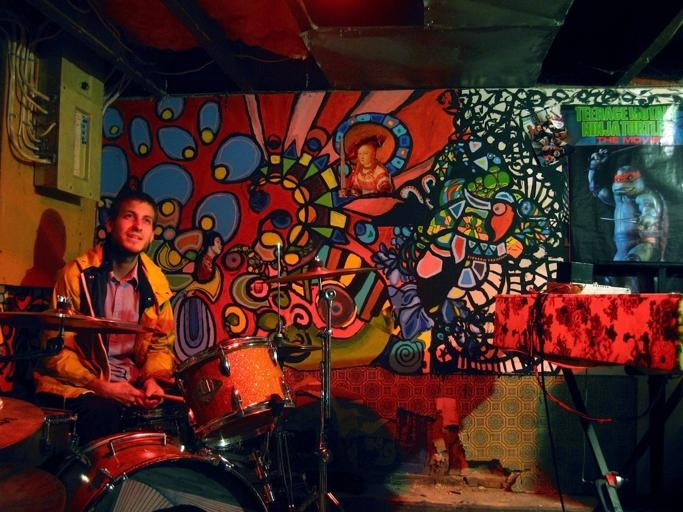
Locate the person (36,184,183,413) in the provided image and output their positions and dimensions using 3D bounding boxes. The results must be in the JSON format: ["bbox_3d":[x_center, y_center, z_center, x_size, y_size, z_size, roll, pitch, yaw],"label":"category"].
[{"bbox_3d":[-1.611,0.242,5.242,0.897,1.342,1.192,4,9,-9],"label":"person"}]

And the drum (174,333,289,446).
[{"bbox_3d":[-0.668,0.865,4.625,0.705,0.735,0.346,4,9,-14],"label":"drum"}]
